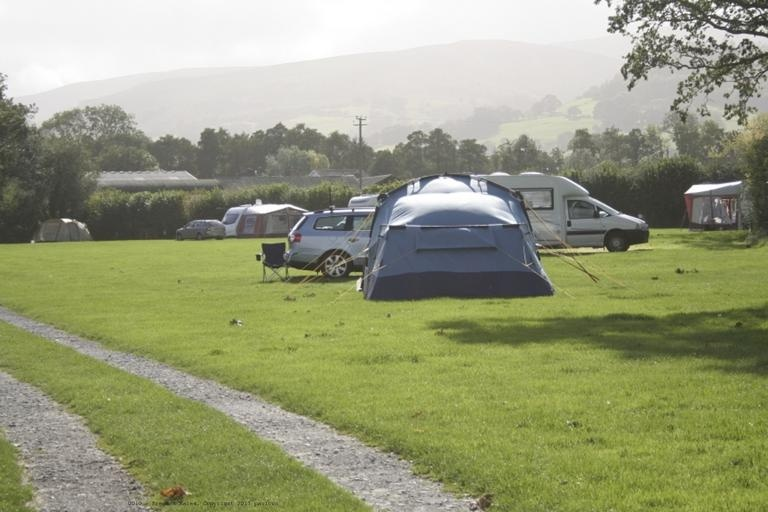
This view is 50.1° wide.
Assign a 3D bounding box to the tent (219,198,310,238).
[{"bbox_3d":[-8.969,-2.803,61.023,6.204,2.439,6.072,-5,7,-37],"label":"tent"}]

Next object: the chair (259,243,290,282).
[{"bbox_3d":[-3.536,0.201,26.087,1.104,1.219,0.936,-2,3,-4],"label":"chair"}]
